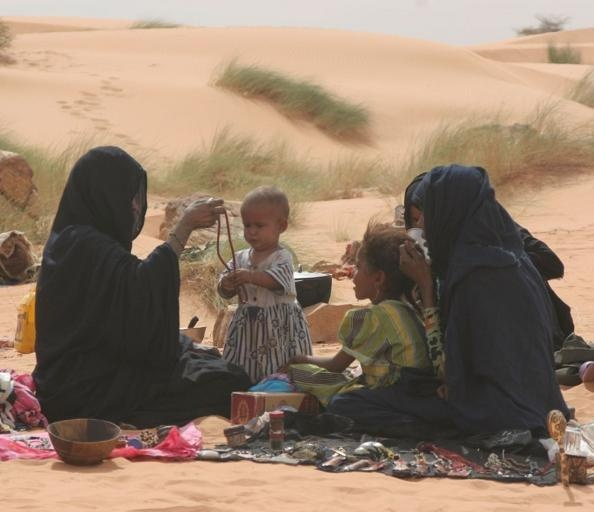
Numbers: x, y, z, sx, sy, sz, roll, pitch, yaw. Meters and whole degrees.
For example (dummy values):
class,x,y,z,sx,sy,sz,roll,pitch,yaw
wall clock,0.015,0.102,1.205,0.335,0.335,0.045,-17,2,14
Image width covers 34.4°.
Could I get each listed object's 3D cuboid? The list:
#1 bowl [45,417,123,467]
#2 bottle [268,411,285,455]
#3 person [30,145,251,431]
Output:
class,x,y,z,sx,sy,sz,roll,pitch,yaw
bowl,-1.406,1.226,6.302,0.476,0.159,0.450,3,12,-1
bottle,-0.130,1.165,6.537,0.116,0.270,0.283,3,6,-1
person,-1.208,0.214,7.081,1.404,2.033,0.625,2,7,-9
